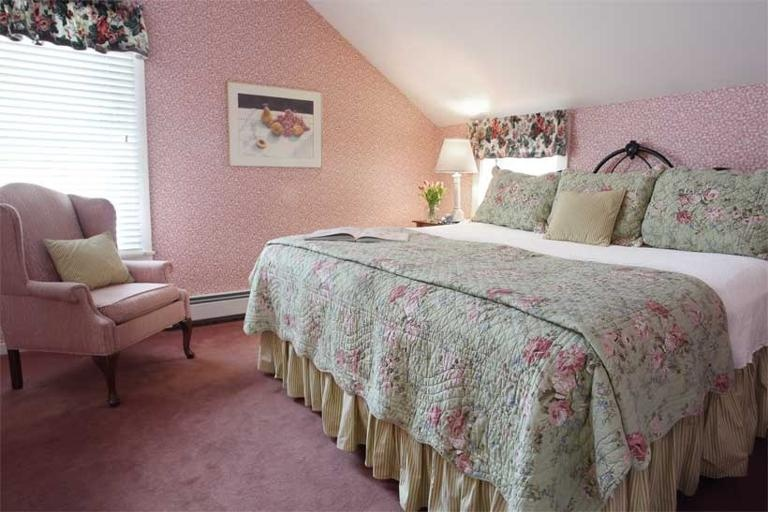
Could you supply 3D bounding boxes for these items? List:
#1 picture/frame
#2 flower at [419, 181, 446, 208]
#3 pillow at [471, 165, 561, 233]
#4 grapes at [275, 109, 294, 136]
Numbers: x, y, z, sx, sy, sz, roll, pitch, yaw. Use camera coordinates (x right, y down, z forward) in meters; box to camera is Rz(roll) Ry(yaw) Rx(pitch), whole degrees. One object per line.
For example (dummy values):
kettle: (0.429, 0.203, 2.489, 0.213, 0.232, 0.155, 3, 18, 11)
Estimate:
picture/frame: (-1.063, -1.239, 4.820, 0.919, 0.682, 0.019, -4, 13, -29)
flower: (0.471, -0.645, 5.378, 0.332, 0.347, 0.322, 0, 4, -10)
pillow: (1.112, -0.452, 4.260, 0.183, 0.557, 0.610, 22, -3, -34)
grapes: (-0.943, -1.262, 4.877, 0.165, 0.216, 0.100, 1, -6, -7)
